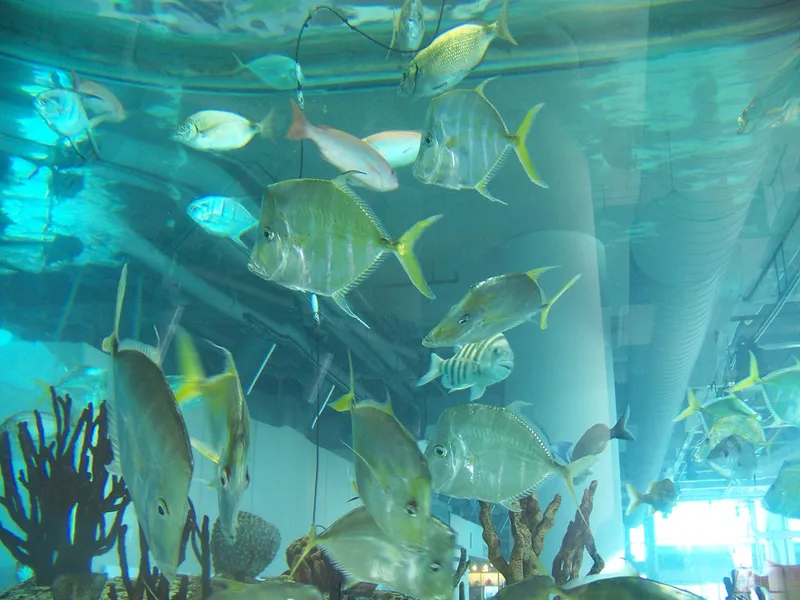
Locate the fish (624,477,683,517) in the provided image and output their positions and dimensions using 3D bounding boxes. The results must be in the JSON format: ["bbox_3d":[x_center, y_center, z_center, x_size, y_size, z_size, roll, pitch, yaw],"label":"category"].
[{"bbox_3d":[1.478,1.161,4.977,0.460,0.294,0.134,-2,-4,9],"label":"fish"}]
